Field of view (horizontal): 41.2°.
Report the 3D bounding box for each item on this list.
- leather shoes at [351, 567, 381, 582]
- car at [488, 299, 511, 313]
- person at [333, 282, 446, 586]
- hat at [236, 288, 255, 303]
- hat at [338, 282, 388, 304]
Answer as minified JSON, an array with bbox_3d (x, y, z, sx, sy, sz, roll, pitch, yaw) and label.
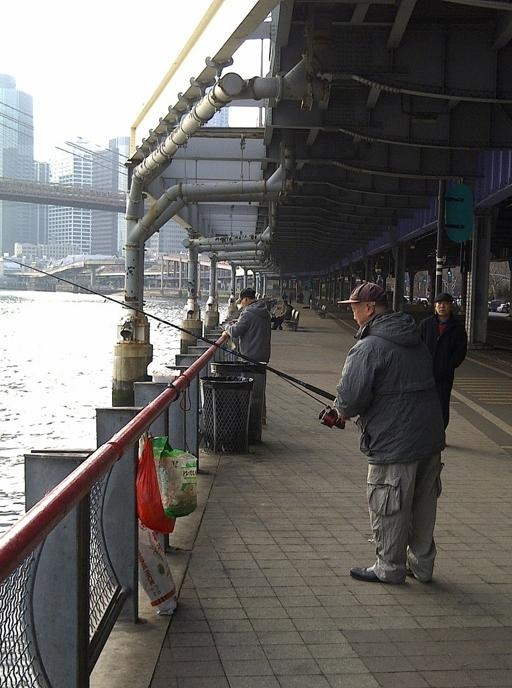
[{"bbox_3d":[0.689,1.453,4.299,0.126,0.042,0.076,1,3,4],"label":"leather shoes"},{"bbox_3d":[30.140,-4.623,84.622,2.053,1.608,7.355,2,1,16],"label":"car"},{"bbox_3d":[0.820,0.570,4.178,0.767,1.868,0.403,1,2,-12],"label":"person"},{"bbox_3d":[-0.150,-0.692,9.720,0.190,0.221,0.236,4,13,-2],"label":"hat"},{"bbox_3d":[0.633,-0.298,4.153,0.234,0.111,0.144,3,1,12],"label":"hat"}]
